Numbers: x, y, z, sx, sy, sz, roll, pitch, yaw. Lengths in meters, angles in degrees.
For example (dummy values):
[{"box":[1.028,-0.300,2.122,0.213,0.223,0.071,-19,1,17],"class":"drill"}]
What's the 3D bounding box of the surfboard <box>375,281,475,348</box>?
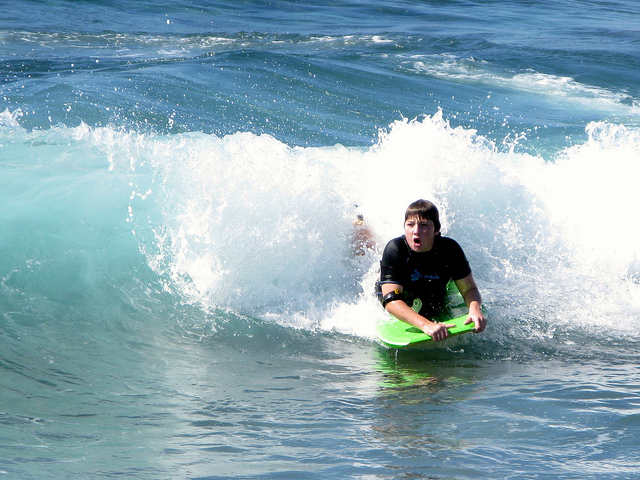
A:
[{"box":[1.196,0.872,8.752,1.099,0.153,0.556,-10,35,-17],"class":"surfboard"}]
